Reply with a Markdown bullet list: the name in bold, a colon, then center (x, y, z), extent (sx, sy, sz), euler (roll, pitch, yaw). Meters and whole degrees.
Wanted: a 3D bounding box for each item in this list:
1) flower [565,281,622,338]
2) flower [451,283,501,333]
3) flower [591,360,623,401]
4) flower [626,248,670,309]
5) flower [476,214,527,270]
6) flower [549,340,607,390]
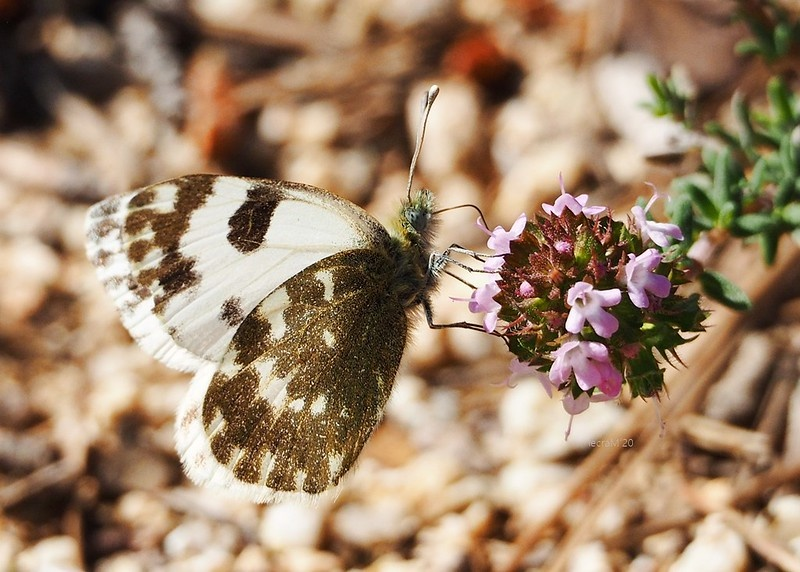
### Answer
- **flower**: center (0.837, 0.114, 4.894), extent (0.264, 0.123, 0.245), euler (-13, 72, -20)
- **flower**: center (0.415, 0.096, 5.097), extent (0.162, 0.160, 0.209), euler (-35, 85, -9)
- **flower**: center (0.948, 0.419, 5.007), extent (0.168, 0.165, 0.121), euler (13, 35, 28)
- **flower**: center (1.098, -0.035, 4.901), extent (0.112, 0.245, 0.247), euler (17, 59, 41)
- **flower**: center (0.460, -0.216, 5.092), extent (0.151, 0.195, 0.283), euler (31, 79, 1)
- **flower**: center (0.807, 0.357, 4.936), extent (0.260, 0.210, 0.211), euler (11, 80, -3)
